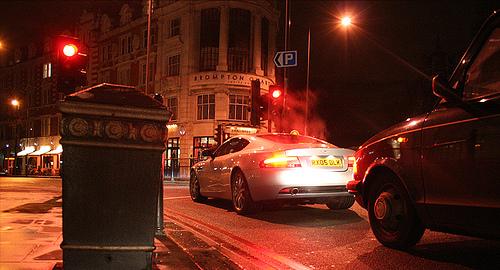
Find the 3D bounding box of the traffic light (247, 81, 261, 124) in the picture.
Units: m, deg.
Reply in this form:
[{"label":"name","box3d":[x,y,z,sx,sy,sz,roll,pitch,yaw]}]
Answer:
[{"label":"traffic light","box3d":[0.202,-1.247,14.293,0.405,1.640,0.494,2,0,-1]}]

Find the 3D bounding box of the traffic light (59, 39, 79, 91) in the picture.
[{"label":"traffic light","box3d":[-4.867,-1.859,9.994,0.479,1.588,0.379,2,0,-16]}]

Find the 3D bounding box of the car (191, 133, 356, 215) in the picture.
[{"label":"car","box3d":[0.504,1.048,10.478,2.130,1.965,4.256,2,-1,-43]}]

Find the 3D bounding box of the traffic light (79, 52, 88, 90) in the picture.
[{"label":"traffic light","box3d":[-4.515,-1.766,10.131,0.192,0.964,0.392,2,0,-27]}]
